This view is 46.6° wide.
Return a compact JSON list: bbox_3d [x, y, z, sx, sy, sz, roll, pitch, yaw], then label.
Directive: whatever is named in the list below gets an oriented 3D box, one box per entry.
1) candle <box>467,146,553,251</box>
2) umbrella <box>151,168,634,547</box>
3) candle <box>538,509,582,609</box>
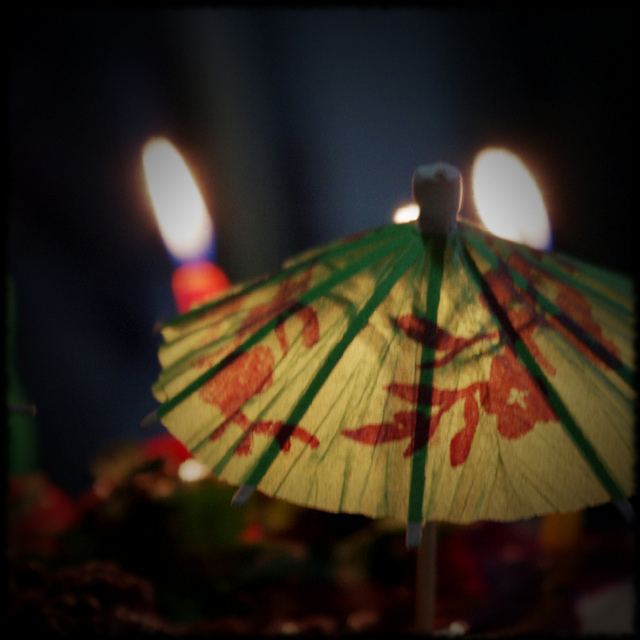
[{"bbox_3d":[0.305,-0.196,1.243,0.129,0.198,0.060,-16,-2,-25],"label":"candle"},{"bbox_3d":[0.123,0.039,1.007,0.699,0.471,0.348,-8,5,-10],"label":"umbrella"},{"bbox_3d":[0.440,0.436,1.359,0.079,0.154,0.075,-3,4,20],"label":"candle"}]
